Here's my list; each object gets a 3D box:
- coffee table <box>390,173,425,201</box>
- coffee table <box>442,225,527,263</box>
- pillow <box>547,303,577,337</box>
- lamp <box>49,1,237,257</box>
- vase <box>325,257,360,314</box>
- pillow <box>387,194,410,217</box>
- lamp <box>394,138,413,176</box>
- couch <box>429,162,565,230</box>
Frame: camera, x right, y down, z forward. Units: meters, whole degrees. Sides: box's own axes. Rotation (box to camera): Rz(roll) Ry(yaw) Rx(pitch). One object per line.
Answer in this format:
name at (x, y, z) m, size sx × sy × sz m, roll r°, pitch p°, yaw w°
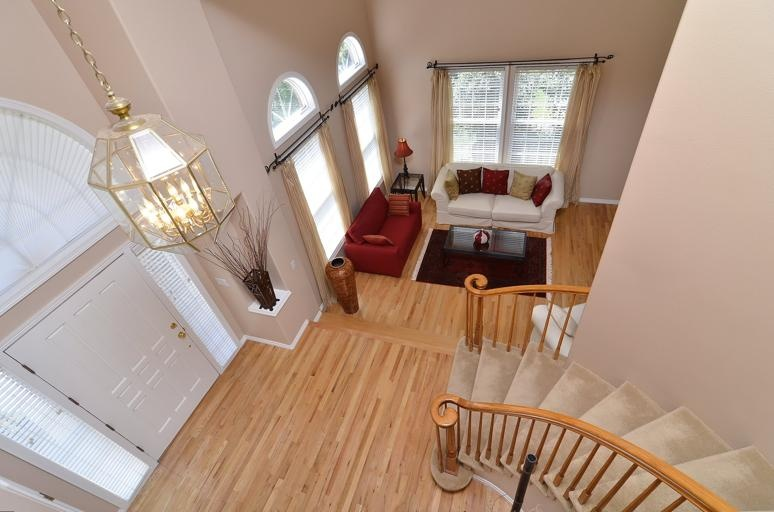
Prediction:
coffee table at (0.432, -1.482, 9.486) m, size 0.644 × 0.642 × 0.650 m, roll 4°, pitch 45°, yaw 6°
coffee table at (1.657, -0.294, 7.684) m, size 1.311 × 0.329 × 0.747 m, roll 4°, pitch 38°, yaw 14°
pillow at (2.238, 0.762, 5.717) m, size 0.390 × 0.122 × 0.411 m, roll 17°, pitch 72°, yaw 24°
lamp at (-1.569, -0.693, 3.027) m, size 0.881 × 1.192 × 0.675 m, roll 3°, pitch 38°, yaw 13°
vase at (-0.687, 0.460, 7.114) m, size 0.347 × 0.828 × 0.513 m, roll -34°, pitch 44°, yaw -31°
pillow at (0.212, -0.907, 8.326) m, size 0.377 × 0.406 × 0.138 m, roll 1°, pitch 8°, yaw 6°
lamp at (0.358, -1.977, 9.219) m, size 0.333 × 1.028 × 0.860 m, roll -3°, pitch 37°, yaw 5°
couch at (2.135, -1.174, 8.562) m, size 2.628 × 1.073 × 1.218 m, roll 6°, pitch 56°, yaw 17°
